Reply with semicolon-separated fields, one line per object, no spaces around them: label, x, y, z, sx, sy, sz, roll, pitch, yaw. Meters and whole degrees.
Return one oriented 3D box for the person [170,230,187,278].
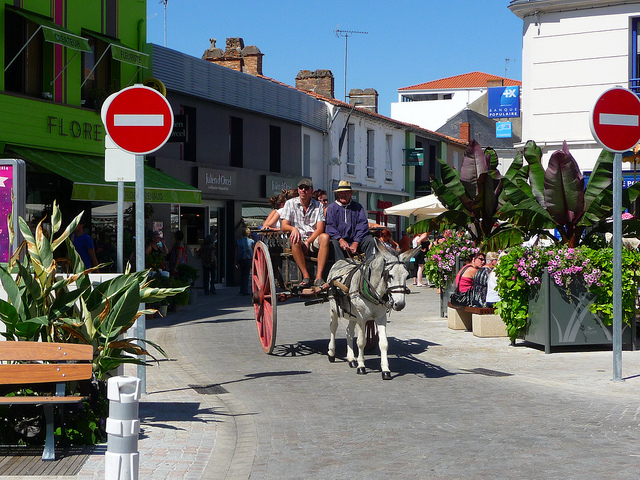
person;-3.945;0.338;24.560;0.417;1.092;2.104;0;3;-10

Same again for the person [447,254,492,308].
person;3.132;0.922;18.490;0.873;1.188;0.720;0;5;3

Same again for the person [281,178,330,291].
person;-0.266;-0.124;15.191;0.774;1.848;1.217;0;3;-8

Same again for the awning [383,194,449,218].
awning;3.151;-1.135;29.215;1.630;0.677;2.676;-1;3;-11

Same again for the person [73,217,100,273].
person;-4.978;0.185;18.805;0.489;1.010;1.567;-1;3;-16

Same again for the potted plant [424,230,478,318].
potted plant;2.944;0.727;20.932;1.414;2.337;1.379;0;1;-6

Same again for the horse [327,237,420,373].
horse;0.679;1.116;14.224;0.793;2.079;2.685;2;-1;-22

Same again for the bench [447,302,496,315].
bench;3.141;1.440;18.239;0.341;0.235;1.291;-1;3;-22
